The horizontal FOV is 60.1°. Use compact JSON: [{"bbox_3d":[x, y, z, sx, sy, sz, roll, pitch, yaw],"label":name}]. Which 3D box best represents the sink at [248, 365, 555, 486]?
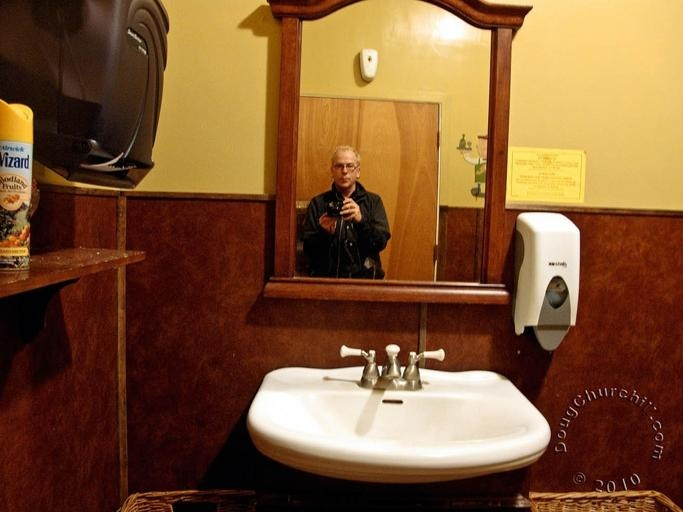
[{"bbox_3d":[0.139,0.457,1.593,0.761,0.133,0.446,1,16,-1],"label":"sink"}]

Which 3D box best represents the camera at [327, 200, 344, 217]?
[{"bbox_3d":[-0.019,-0.141,1.763,0.053,0.062,0.039,1,-1,-7],"label":"camera"}]

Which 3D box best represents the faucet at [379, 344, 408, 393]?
[{"bbox_3d":[0.154,0.330,1.709,0.067,0.146,0.101,-10,-24,8],"label":"faucet"}]
